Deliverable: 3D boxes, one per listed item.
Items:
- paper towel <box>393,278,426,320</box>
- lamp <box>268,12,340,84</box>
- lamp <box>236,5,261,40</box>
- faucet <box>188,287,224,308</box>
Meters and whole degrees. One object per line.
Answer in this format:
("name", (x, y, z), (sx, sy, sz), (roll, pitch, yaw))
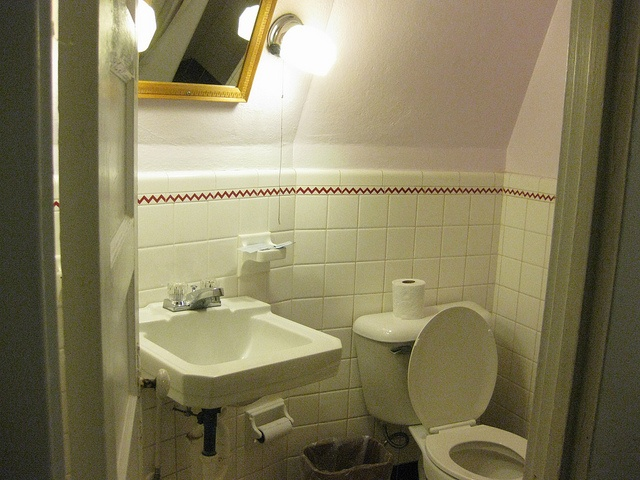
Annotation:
("paper towel", (0.386, 0.258, 2.303), (0.111, 0.133, 0.118), (0, -15, -3))
("lamp", (-0.061, -0.650, 1.847), (0.227, 0.155, 0.054), (17, 14, -29))
("lamp", (-0.233, -0.700, 1.769), (0.056, 0.094, 0.059), (1, -2, -40))
("faucet", (-0.389, 0.184, 1.872), (0.082, 0.041, 0.066), (-4, 11, -32))
